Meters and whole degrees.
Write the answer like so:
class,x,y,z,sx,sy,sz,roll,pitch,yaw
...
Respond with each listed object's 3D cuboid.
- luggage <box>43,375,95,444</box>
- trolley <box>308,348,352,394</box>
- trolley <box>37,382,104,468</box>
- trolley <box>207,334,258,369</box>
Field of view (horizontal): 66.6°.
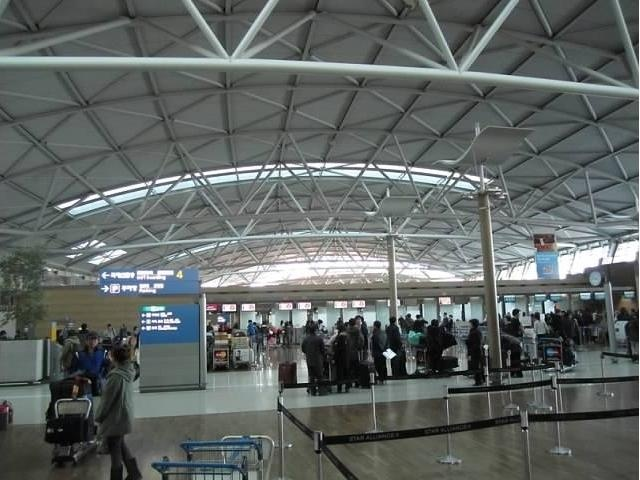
class,x,y,z,sx,sy,sz,roll,pitch,yaw
luggage,-5.468,3.768,10.529,0.783,2.018,0.784,1,-5,-13
trolley,0.377,4.466,16.668,1.316,1.340,1.811,-6,-11,17
trolley,-5.534,3.928,10.846,0.996,1.508,1.493,3,-14,-13
trolley,-4.579,5.495,24.382,1.892,1.282,1.862,3,-14,-14
